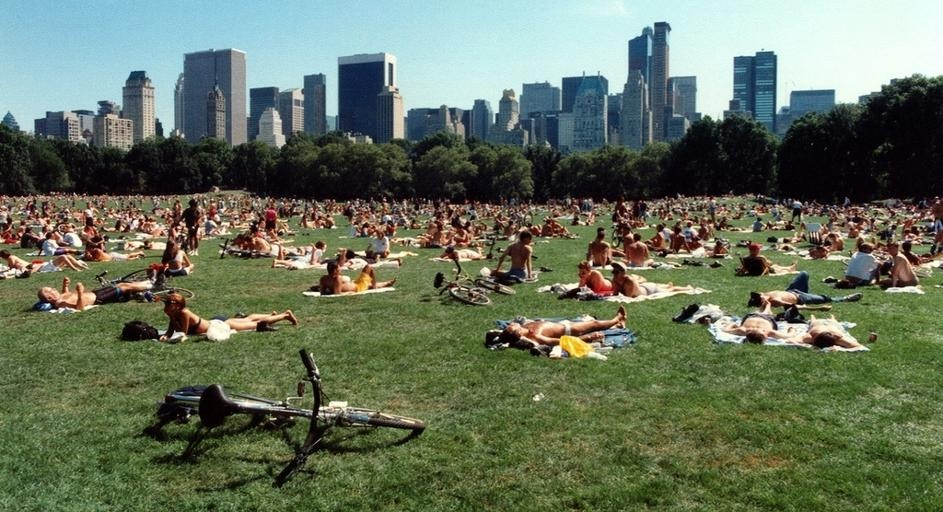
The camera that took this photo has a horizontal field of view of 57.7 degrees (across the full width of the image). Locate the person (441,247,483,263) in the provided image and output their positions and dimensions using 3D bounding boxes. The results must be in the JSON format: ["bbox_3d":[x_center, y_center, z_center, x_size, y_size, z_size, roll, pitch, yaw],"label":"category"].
[{"bbox_3d":[-0.456,-0.064,39.315,1.276,0.383,0.864,3,1,-24],"label":"person"}]

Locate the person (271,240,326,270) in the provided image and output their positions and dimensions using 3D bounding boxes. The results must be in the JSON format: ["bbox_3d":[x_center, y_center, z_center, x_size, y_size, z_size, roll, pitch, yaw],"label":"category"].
[{"bbox_3d":[-7.644,0.148,38.179,1.471,0.743,1.983,8,14,36],"label":"person"}]

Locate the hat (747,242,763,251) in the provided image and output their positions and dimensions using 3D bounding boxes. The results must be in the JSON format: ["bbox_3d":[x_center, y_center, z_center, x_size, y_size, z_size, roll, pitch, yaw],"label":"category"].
[{"bbox_3d":[12.300,-0.414,37.389,0.568,0.318,0.559,0,0,26],"label":"hat"}]

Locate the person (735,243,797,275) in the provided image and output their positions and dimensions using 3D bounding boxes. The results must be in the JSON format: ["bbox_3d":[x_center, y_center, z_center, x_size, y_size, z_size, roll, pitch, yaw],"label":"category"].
[{"bbox_3d":[12.276,0.132,35.839,1.402,0.898,2.440,2,5,41],"label":"person"}]

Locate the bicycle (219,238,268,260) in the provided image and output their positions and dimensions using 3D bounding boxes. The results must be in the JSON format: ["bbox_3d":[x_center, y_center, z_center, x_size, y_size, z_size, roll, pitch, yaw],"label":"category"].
[{"bbox_3d":[-10.988,-0.205,40.684,1.744,0.666,1.357,1,6,14],"label":"bicycle"}]
